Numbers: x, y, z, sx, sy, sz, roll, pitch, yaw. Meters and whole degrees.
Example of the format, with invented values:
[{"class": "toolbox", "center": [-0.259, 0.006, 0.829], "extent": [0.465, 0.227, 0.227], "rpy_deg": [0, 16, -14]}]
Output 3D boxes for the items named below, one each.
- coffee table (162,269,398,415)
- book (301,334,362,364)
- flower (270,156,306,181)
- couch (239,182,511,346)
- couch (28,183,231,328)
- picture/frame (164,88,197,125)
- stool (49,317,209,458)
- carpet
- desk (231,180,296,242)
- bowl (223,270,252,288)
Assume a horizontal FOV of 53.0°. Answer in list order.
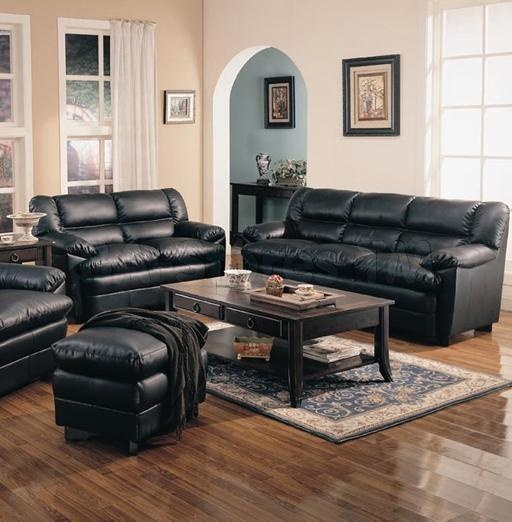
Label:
[{"class": "coffee table", "center": [0.306, 0.296, 3.074], "extent": [0.780, 0.382, 1.221], "rpy_deg": [-3, 6, -39]}, {"class": "book", "center": [0.490, 0.578, 3.126], "extent": [0.251, 0.049, 0.242], "rpy_deg": [-8, 9, -37]}, {"class": "flower", "center": [0.522, -1.308, 7.515], "extent": [0.534, 0.213, 0.419], "rpy_deg": [-1, 7, 5]}, {"class": "couch", "center": [1.051, 0.036, 4.133], "extent": [0.738, 0.607, 1.641], "rpy_deg": [-3, 8, -43]}, {"class": "couch", "center": [-1.202, -0.157, 5.024], "extent": [1.679, 0.892, 0.950], "rpy_deg": [-11, 25, -42]}, {"class": "picture/frame", "center": [-1.037, -2.091, 7.008], "extent": [0.034, 0.404, 0.545], "rpy_deg": [15, 24, 31]}, {"class": "stool", "center": [-0.530, 0.570, 2.384], "extent": [0.579, 0.407, 0.563], "rpy_deg": [7, 11, 38]}, {"class": "carpet", "center": [0.551, 0.738, 3.174], "extent": [1.543, 0.076, 1.298], "rpy_deg": [-2, 4, -36]}, {"class": "desk", "center": [0.168, -0.717, 7.755], "extent": [1.078, 0.803, 0.398], "rpy_deg": [3, 3, 3]}, {"class": "bowl", "center": [-0.128, 0.124, 3.506], "extent": [0.161, 0.082, 0.138], "rpy_deg": [0, -1, -9]}]
